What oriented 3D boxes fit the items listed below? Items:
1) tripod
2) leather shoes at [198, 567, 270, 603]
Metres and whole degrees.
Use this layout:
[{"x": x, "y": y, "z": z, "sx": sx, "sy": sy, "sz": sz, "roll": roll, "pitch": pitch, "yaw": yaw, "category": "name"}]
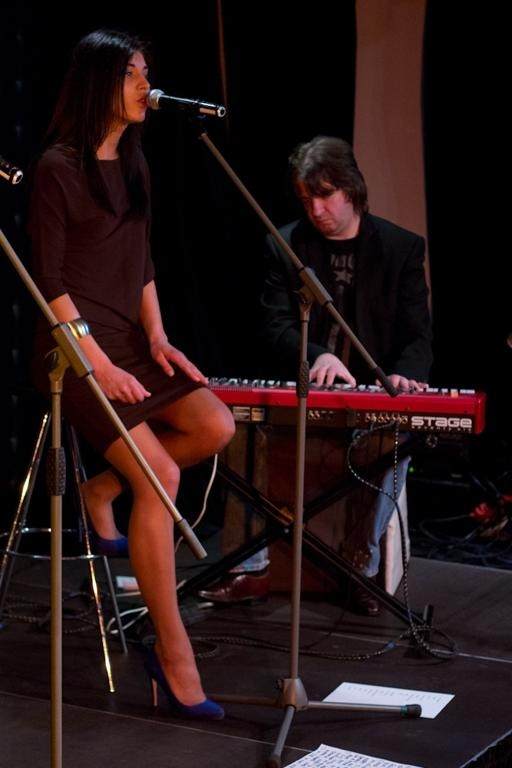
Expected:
[{"x": 0.125, "y": 0.145, "z": 1.722, "sx": 0.481, "sy": 1.478, "sz": 0.900, "roll": -1, "pitch": 10, "yaw": -4, "category": "tripod"}, {"x": -0.055, "y": 0.711, "z": 2.620, "sx": 0.294, "sy": 0.125, "sz": 0.094, "roll": 4, "pitch": -5, "yaw": -37, "category": "leather shoes"}]
